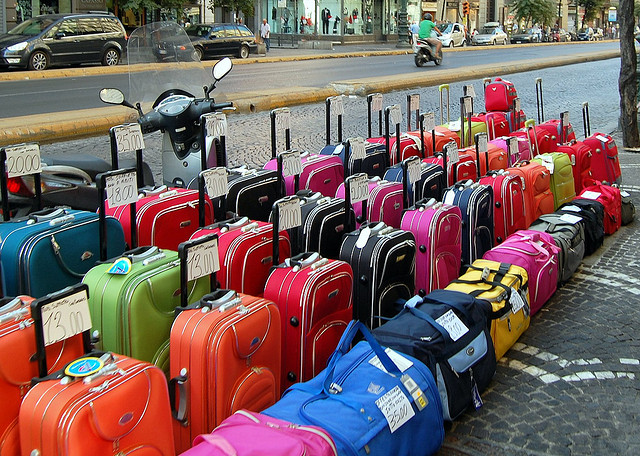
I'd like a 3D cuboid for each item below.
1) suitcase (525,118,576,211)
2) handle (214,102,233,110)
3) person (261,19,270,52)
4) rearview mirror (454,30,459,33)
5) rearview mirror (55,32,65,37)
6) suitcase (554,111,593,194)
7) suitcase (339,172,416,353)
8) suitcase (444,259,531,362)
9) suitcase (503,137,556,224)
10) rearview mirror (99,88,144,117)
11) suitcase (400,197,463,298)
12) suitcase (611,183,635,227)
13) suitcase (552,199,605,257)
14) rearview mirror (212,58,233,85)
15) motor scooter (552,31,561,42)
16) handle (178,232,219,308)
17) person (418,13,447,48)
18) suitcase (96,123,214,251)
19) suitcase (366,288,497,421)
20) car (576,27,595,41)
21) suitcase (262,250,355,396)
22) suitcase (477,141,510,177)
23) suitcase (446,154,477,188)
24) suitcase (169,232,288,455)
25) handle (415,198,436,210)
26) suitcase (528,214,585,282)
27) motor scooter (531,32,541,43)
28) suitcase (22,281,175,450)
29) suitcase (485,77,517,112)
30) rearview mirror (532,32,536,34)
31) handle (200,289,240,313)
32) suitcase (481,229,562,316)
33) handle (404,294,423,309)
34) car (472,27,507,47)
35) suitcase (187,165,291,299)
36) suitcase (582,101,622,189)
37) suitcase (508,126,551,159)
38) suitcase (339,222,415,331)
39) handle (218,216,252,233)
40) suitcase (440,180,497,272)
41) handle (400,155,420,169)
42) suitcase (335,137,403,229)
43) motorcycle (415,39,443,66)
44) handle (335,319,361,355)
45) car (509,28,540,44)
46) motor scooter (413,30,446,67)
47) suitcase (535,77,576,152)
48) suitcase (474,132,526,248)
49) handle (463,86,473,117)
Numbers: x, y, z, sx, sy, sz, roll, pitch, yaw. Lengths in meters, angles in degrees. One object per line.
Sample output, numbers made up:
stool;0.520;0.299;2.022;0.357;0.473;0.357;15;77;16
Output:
suitcase;3.057;-0.824;7.701;0.509;1.607;0.708;1;28;35
handle;-1.141;-1.444;6.790;0.217;0.063;0.306;-10;16;-12
person;-3.222;-11.205;33.501;0.421;1.825;1.797;-5;14;-4
rearview mirror;9.818;-14.312;41.804;0.099;0.190;0.486;6;19;39
rearview mirror;-9.625;-7.205;21.402;0.280;0.255;0.167;6;5;-16
suitcase;3.515;-0.944;8.033;0.434;1.255;0.499;-17;18;-40
suitcase;0.467;0.318;4.814;0.548;1.973;0.763;9;20;32
suitcase;1.533;0.750;5.166;0.814;0.695;0.623;-24;14;-38
suitcase;2.544;-0.468;7.173;0.502;1.238;0.565;0;12;41
rearview mirror;-2.156;-1.350;6.239;0.307;0.360;0.656;-7;15;-7
suitcase;1.003;0.204;5.260;0.422;1.051;0.599;7;12;32
suitcase;3.986;-0.290;7.629;0.263;0.613;0.389;-10;12;12
suitcase;3.195;-0.182;7.061;0.535;0.647;0.534;15;-22;-9
rearview mirror;-1.120;-1.836;6.671;0.165;0.346;0.039;30;10;37
motor scooter;24.837;-20.362;60.926;0.727;1.019;2.062;1;17;25
handle;-0.825;0.301;3.908;0.049;0.622;0.307;11;19;28
person;5.178;-9.158;26.747;1.019;1.922;0.788;6;12;45
suitcase;-1.518;-0.398;5.443;0.721;1.676;0.950;9;19;29
suitcase;0.936;0.980;4.561;0.800;0.827;0.998;-1;18;43
car;29.230;-21.467;63.622;1.174;1.318;2.161;7;20;33
suitcase;-0.092;0.710;4.142;0.425;1.098;0.616;13;20;29
suitcase;2.308;-0.915;7.664;0.359;0.398;0.227;-19;38;-8
suitcase;1.819;-0.618;7.229;0.269;0.494;0.278;-2;-23;15
suitcase;-0.609;0.792;3.742;0.470;1.544;0.851;10;19;31
handle;0.995;-0.242;5.423;0.097;0.053;0.142;9;21;32
suitcase;2.640;0.254;6.442;0.735;0.605;0.618;-27;15;-30
motor scooter;20.383;-18.341;54.752;0.659;1.195;1.065;1;6;13
suitcase;-1.284;0.802;3.312;0.433;1.320;0.717;1;9;34
suitcase;3.100;-2.336;10.021;0.429;0.629;0.482;-10;9;-43
rearview mirror;20.070;-18.480;54.498;0.365;0.131;0.084;-19;19;-38
handle;-0.677;0.439;3.787;0.107;0.054;0.217;10;25;29
suitcase;2.061;0.405;5.765;0.543;0.755;0.705;1;16;41
handle;0.734;0.566;4.515;0.116;0.039;0.087;-34;33;-30
car;13.995;-16.108;48.323;3.657;1.414;1.529;-20;20;-41
suitcase;-0.648;0.159;4.718;0.556;1.277;0.714;2;11;30
suitcase;4.029;-1.185;8.322;0.381;1.299;0.517;-6;8;45
suitcase;3.234;-1.389;8.971;0.657;0.757;0.435;-11;13;-34
suitcase;0.507;0.511;5.035;0.539;1.165;0.701;8;15;32
handle;-0.691;-0.034;4.588;0.110;0.032;0.185;15;24;24
suitcase;1.474;-0.001;5.782;0.391;0.940;0.539;14;22;38
handle;0.867;-0.645;5.692;0.149;0.201;0.058;0;-9;9
suitcase;0.569;-0.454;6.005;0.475;1.083;0.607;7;18;24
motorcycle;5.166;-8.305;26.608;1.602;1.326;0.772;-4;23;-18
handle;0.189;0.742;3.962;0.052;0.262;0.135;23;4;-5
car;19.741;-18.390;54.941;1.603;0.959;2.538;17;32;35
motor scooter;4.910;-8.147;26.521;1.283;1.280;0.615;-11;14;-22
suitcase;3.803;-1.730;9.491;0.455;1.581;0.470;4;19;36
suitcase;2.028;-0.407;6.573;0.512;1.852;0.736;4;20;28
handle;2.211;-1.941;8.706;0.163;0.398;0.081;2;3;-4
